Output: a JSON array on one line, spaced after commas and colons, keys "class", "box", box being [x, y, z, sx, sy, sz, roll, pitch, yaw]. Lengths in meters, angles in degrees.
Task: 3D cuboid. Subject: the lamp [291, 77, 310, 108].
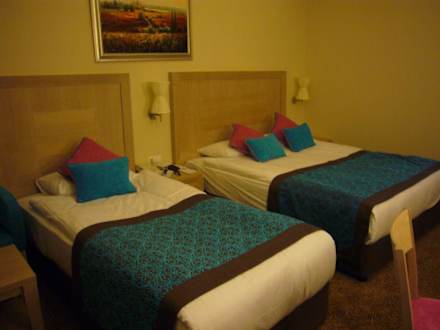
[{"class": "lamp", "box": [1.444, -1.328, 5.899, 0.281, 0.491, 0.302, 2, 16, -2]}]

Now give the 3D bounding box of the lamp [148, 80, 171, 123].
[{"class": "lamp", "box": [-0.840, -0.834, 4.258, 0.198, 0.475, 0.222, 16, 14, 27]}]

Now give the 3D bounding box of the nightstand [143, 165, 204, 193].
[{"class": "nightstand", "box": [-0.520, 0.136, 4.215, 0.420, 0.297, 0.429, 14, 20, 41]}]

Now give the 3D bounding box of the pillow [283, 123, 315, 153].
[{"class": "pillow", "box": [1.144, -0.384, 4.881, 0.431, 0.431, 0.131, -14, -7, -35]}]
